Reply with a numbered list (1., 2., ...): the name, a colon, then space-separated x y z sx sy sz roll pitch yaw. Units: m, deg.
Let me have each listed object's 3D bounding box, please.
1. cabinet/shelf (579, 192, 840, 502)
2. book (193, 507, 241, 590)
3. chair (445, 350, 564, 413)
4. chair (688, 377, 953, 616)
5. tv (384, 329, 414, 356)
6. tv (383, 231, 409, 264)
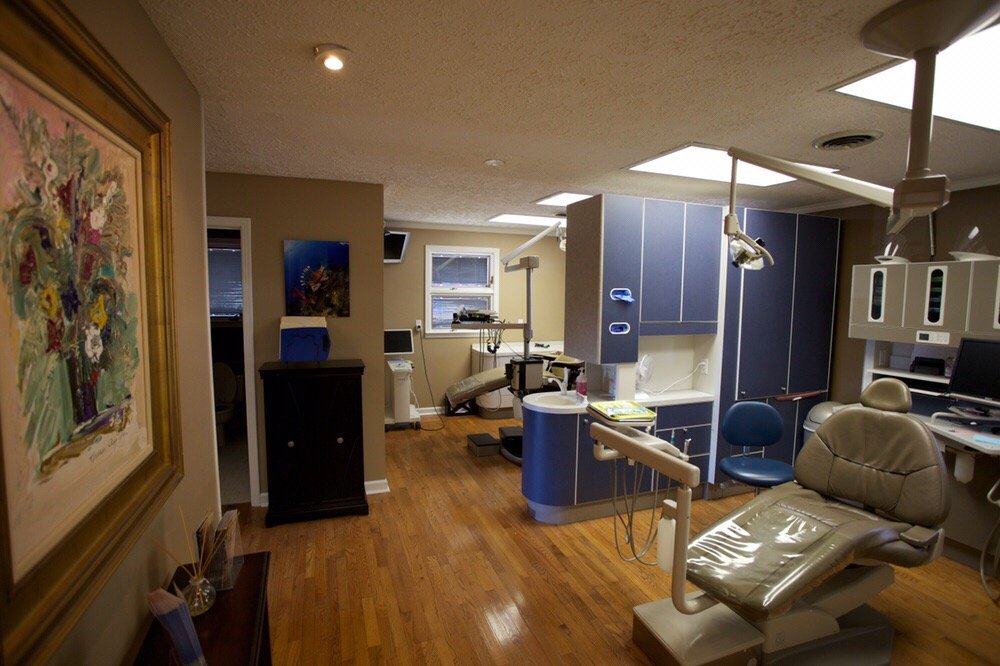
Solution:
1. cabinet/shelf: 1.531 0.113 5.113 2.655 2.246 0.594 0 3 -18
2. book: -1.399 1.073 3.285 0.126 0.320 0.326 0 4 -4
3. chair: 0.026 0.419 5.944 1.050 0.297 0.619 -16 13 -9
4. chair: 1.785 0.984 3.859 1.576 1.024 0.974 -11 16 -30
5. tv: -1.161 0.107 7.608 0.299 0.292 0.243 -2 4 -11
6. tv: -1.202 -1.001 7.696 0.280 0.382 0.330 -1 4 -8
